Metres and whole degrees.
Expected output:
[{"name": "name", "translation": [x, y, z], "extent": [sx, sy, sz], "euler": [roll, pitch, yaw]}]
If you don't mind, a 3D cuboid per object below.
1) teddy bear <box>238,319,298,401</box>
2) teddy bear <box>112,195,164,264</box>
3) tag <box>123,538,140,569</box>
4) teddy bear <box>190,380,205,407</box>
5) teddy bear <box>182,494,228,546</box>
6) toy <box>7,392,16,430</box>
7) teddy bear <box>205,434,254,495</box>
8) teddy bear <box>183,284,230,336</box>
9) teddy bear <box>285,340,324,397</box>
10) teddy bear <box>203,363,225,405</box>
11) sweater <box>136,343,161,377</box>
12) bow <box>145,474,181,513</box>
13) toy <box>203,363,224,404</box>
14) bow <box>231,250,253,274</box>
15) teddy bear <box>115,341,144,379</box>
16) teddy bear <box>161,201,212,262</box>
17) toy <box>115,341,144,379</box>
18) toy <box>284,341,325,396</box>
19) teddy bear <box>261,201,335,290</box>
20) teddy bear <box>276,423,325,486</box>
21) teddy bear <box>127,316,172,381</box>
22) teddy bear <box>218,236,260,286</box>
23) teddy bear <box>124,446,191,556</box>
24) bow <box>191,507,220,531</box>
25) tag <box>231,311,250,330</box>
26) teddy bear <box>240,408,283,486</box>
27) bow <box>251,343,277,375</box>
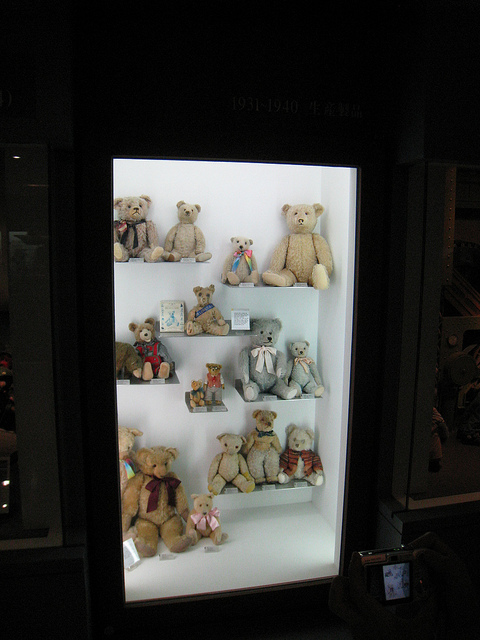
[{"name": "teddy bear", "translation": [0.124, 0.164, 2.424], "extent": [0.221, 0.359, 0.229], "euler": [3, 4, 20]}, {"name": "teddy bear", "translation": [-0.404, -0.362, 2.234], "extent": [0.191, 0.267, 0.216], "euler": [-3, 8, -14]}, {"name": "tag", "translation": [-0.414, 0.899, 2.166], "extent": [0.028, 0.084, 0.107], "euler": [-3, -5, 17]}, {"name": "teddy bear", "translation": [-0.179, 0.307, 2.367], "extent": [0.064, 0.146, 0.081], "euler": [1, -11, -6]}, {"name": "teddy bear", "translation": [-0.146, 0.823, 2.327], "extent": [0.163, 0.238, 0.167], "euler": [1, -1, -9]}, {"name": "toy", "translation": [-0.712, 0.279, 1.754], "extent": [0.020, 0.127, 0.040], "euler": [2, 7, 3]}, {"name": "teddy bear", "translation": [-0.054, 0.611, 2.510], "extent": [0.186, 0.289, 0.208], "euler": [3, 0, -4]}, {"name": "teddy bear", "translation": [-0.141, -0.041, 2.347], "extent": [0.153, 0.234, 0.133], "euler": [0, 2, 0]}, {"name": "teddy bear", "translation": [0.268, 0.199, 2.466], "extent": [0.177, 0.322, 0.184], "euler": [0, -1, -11]}, {"name": "teddy bear", "translation": [-0.113, 0.263, 2.397], "extent": [0.086, 0.206, 0.063], "euler": [0, 29, -3]}, {"name": "sweater", "translation": [-0.374, 0.156, 2.356], "extent": [0.107, 0.204, 0.100], "euler": [0, -13, -17]}, {"name": "bow", "translation": [-0.327, 0.718, 2.334], "extent": [0.123, 0.158, 0.041], "euler": [7, -23, -30]}, {"name": "toy", "translation": [-0.113, 0.265, 2.398], "extent": [0.084, 0.208, 0.065], "euler": [-3, 28, -9]}, {"name": "bow", "translation": [0.006, -0.242, 2.360], "extent": [0.078, 0.099, 0.018], "euler": [0, 2, -3]}, {"name": "teddy bear", "translation": [-0.448, 0.172, 2.246], "extent": [0.092, 0.160, 0.055], "euler": [8, -12, 3]}, {"name": "teddy bear", "translation": [-0.227, -0.365, 2.313], "extent": [0.171, 0.283, 0.152], "euler": [4, 0, -15]}, {"name": "toy", "translation": [-0.445, 0.159, 2.277], "extent": [0.105, 0.137, 0.092], "euler": [-3, 7, -10]}, {"name": "toy", "translation": [0.266, 0.207, 2.477], "extent": [0.180, 0.320, 0.182], "euler": [0, -6, -8]}, {"name": "teddy bear", "translation": [0.280, -0.291, 2.439], "extent": [0.286, 0.483, 0.313], "euler": [1, 4, 16]}, {"name": "teddy bear", "translation": [0.264, 0.591, 2.506], "extent": [0.178, 0.278, 0.145], "euler": [1, 23, 7]}, {"name": "teddy bear", "translation": [-0.369, 0.113, 2.310], "extent": [0.178, 0.241, 0.175], "euler": [-3, 8, -11]}, {"name": "teddy bear", "translation": [0.000, -0.247, 2.380], "extent": [0.170, 0.202, 0.159], "euler": [-3, 8, -14]}, {"name": "teddy bear", "translation": [-0.343, 0.728, 2.317], "extent": [0.267, 0.374, 0.276], "euler": [-2, 8, -9]}, {"name": "bow", "translation": [-0.146, 0.828, 2.331], "extent": [0.111, 0.069, 0.048], "euler": [-2, 7, -3]}, {"name": "tag", "translation": [-0.001, -0.001, 2.371], "extent": [0.055, 0.073, 0.007], "euler": [6, -6, -23]}, {"name": "teddy bear", "translation": [0.101, 0.557, 2.521], "extent": [0.168, 0.385, 0.162], "euler": [1, 24, -3]}, {"name": "bow", "translation": [0.102, 0.167, 2.430], "extent": [0.094, 0.148, 0.020], "euler": [-3, 4, 4]}]
